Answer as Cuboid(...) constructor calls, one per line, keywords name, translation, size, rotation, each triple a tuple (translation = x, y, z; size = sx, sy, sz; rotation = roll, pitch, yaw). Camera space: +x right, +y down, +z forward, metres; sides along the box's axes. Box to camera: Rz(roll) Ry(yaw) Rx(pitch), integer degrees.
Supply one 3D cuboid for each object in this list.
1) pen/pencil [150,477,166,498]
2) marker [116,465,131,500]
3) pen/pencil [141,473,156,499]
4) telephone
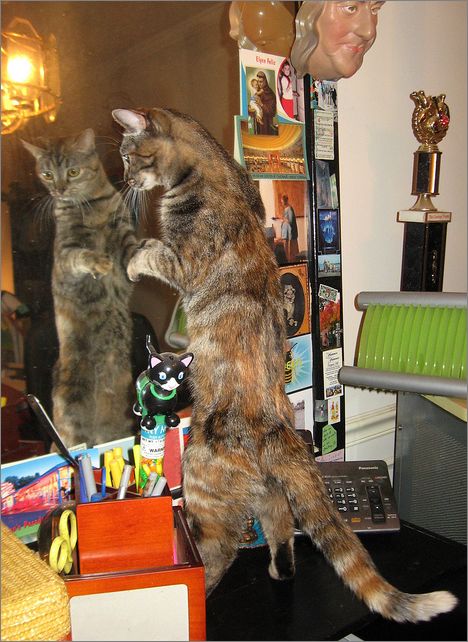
Cuboid(name="pen/pencil", translation=(-0.103, 0.225, 0.722), size=(0.020, 0.023, 0.033), rotation=(-1, 6, 0))
Cuboid(name="marker", translation=(-0.144, 0.214, 0.699), size=(0.012, 0.041, 0.011), rotation=(8, -9, 25))
Cuboid(name="pen/pencil", translation=(-0.116, 0.225, 0.729), size=(0.010, 0.036, 0.010), rotation=(14, -22, 8))
Cuboid(name="telephone", translation=(0.257, 0.353, 1.126), size=(0.202, 0.080, 0.198), rotation=(-1, 40, -2))
